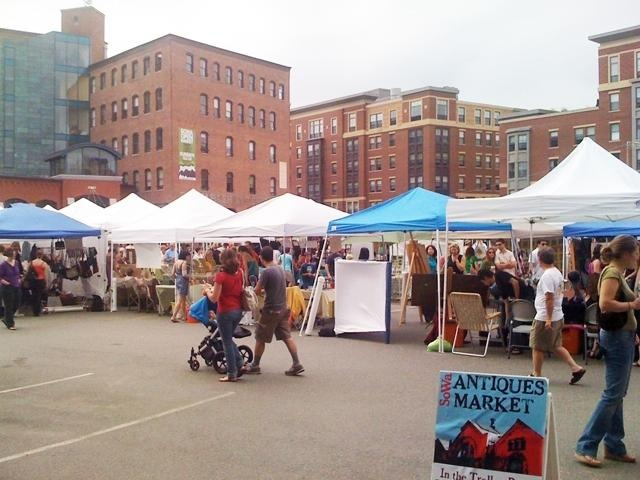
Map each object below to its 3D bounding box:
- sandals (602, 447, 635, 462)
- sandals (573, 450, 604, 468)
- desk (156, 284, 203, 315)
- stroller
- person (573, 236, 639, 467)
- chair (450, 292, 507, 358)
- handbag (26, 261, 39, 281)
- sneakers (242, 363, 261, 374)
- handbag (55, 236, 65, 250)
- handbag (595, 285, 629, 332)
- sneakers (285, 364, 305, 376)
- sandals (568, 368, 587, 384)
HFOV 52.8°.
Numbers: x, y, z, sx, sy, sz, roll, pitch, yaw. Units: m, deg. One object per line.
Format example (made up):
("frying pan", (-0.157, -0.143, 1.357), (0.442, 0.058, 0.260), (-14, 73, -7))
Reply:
("sandals", (3.347, 2.410, 7.236), (0.342, 0.158, 0.119), (-2, -2, 14))
("sandals", (2.942, 2.404, 7.068), (0.221, 0.095, 0.126), (-4, -4, 36))
("desk", (-4.091, 1.752, 19.581), (1.557, 1.225, 1.577), (1, -1, -23))
("stroller", (-1.943, 1.648, 11.526), (1.002, 1.188, 0.675), (7, 7, -18))
("person", (3.206, 1.208, 7.128), (0.602, 2.508, 0.572), (0, 2, 27))
("chair", (2.939, 1.650, 12.413), (0.768, 1.006, 0.828), (-8, 2, 0))
("handbag", (-8.723, 0.967, 19.558), (0.434, 0.589, 0.321), (-12, -7, -42))
("sneakers", (-1.164, 2.217, 11.071), (0.313, 0.144, 0.129), (4, -6, -5))
("handbag", (-9.124, 0.159, 22.541), (0.255, 0.372, 1.137), (-2, 2, -33))
("handbag", (3.209, 0.752, 7.037), (0.294, 0.482, 0.135), (0, 2, 25))
("sneakers", (-0.463, 2.242, 11.052), (0.358, 0.165, 0.144), (-14, 2, 29))
("sandals", (4.093, 2.160, 10.228), (0.145, 0.385, 0.140), (19, 35, 1))
